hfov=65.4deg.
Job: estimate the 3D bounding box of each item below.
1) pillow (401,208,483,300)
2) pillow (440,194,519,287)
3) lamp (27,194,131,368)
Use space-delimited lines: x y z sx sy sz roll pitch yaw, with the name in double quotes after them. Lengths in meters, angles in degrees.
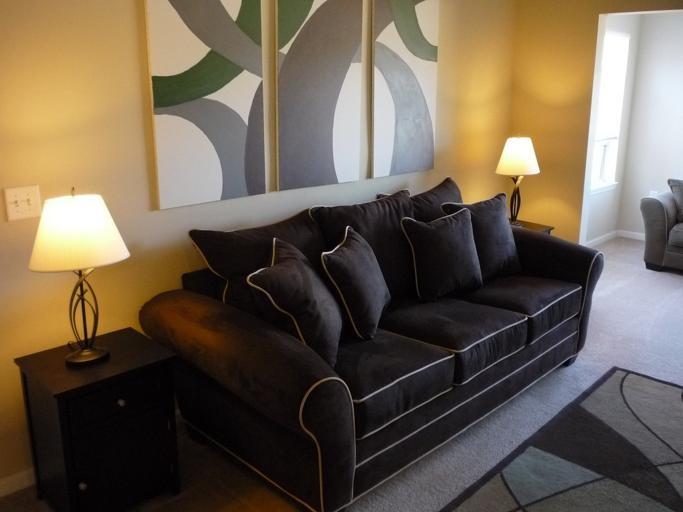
0.650 -0.005 3.279 0.490 0.501 0.249 -9 9 -25 "pillow"
0.878 -0.079 3.412 0.458 0.460 0.211 -18 25 -39 "pillow"
-1.167 0.079 2.375 0.375 0.740 0.451 -10 14 -32 "lamp"
